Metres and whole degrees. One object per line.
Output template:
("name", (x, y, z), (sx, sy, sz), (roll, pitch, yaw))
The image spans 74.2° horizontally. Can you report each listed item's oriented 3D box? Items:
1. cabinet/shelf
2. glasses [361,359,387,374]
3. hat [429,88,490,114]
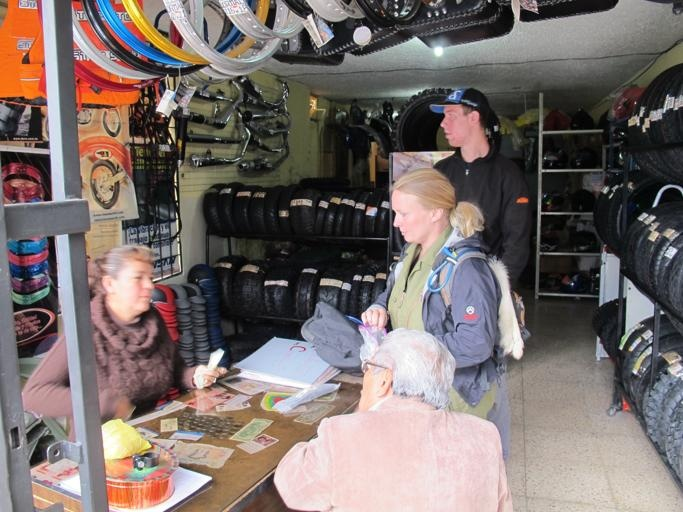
("cabinet/shelf", (3.777, -1.111, 7.607), (1.107, 3.307, 3.341), (4, 13, 25))
("glasses", (0.092, 0.339, 1.339), (0.062, 0.018, 0.061), (-2, 5, 23))
("hat", (0.889, -1.169, 3.337), (0.375, 0.177, 0.232), (0, 19, 9))
